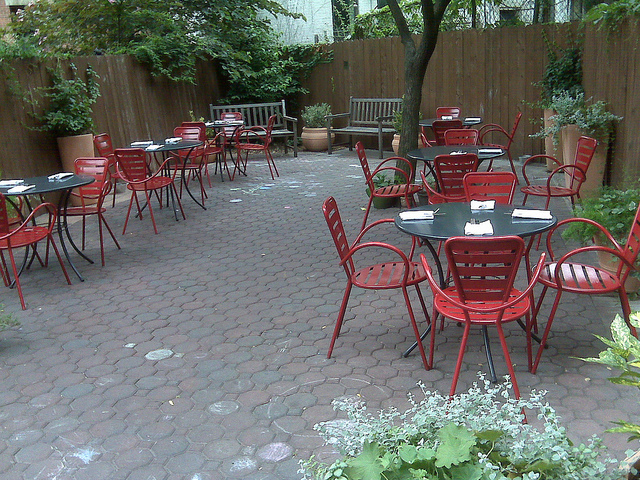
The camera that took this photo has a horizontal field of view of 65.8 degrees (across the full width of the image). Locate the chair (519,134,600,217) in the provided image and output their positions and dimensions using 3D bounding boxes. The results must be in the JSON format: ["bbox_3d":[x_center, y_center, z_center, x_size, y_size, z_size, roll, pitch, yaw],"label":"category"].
[{"bbox_3d":[3.085,-0.727,6.458,1.119,0.951,0.841,-6,20,21],"label":"chair"}]

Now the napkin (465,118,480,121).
[{"bbox_3d":[2.976,-2.356,9.658,0.267,0.035,0.589,1,16,15],"label":"napkin"}]

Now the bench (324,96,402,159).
[{"bbox_3d":[1.134,-2.931,12.689,1.828,1.134,1.081,15,37,40],"label":"bench"}]

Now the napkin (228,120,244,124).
[{"bbox_3d":[-1.819,-2.553,10.751,0.303,0.055,0.512,-5,16,-6],"label":"napkin"}]

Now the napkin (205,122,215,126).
[{"bbox_3d":[-2.334,-2.425,10.346,0.172,0.032,0.149,2,9,3],"label":"napkin"}]

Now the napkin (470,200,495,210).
[{"bbox_3d":[1.428,-0.309,4.325,0.196,0.049,0.168,1,17,13],"label":"napkin"}]

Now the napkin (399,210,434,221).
[{"bbox_3d":[0.821,-0.215,4.188,0.294,0.041,0.242,-2,16,5],"label":"napkin"}]

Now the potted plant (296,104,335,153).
[{"bbox_3d":[0.113,-3.020,13.604,1.116,1.038,1.059,11,16,26],"label":"potted plant"}]

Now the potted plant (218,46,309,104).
[{"bbox_3d":[-1.789,-4.733,14.333,3.054,1.217,2.096,-5,13,-19],"label":"potted plant"}]

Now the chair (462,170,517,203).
[{"bbox_3d":[1.761,-0.552,5.124,0.505,0.318,0.258,1,22,15],"label":"chair"}]

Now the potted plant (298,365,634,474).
[{"bbox_3d":[0.801,0.924,2.571,1.268,0.364,1.082,-4,4,7],"label":"potted plant"}]

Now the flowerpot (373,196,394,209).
[{"bbox_3d":[0.993,-0.584,7.738,0.270,0.128,0.213,-2,14,-6],"label":"flowerpot"}]

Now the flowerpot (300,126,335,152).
[{"bbox_3d":[-0.122,-2.707,13.304,0.974,0.422,0.774,-1,8,-5],"label":"flowerpot"}]

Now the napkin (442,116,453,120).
[{"bbox_3d":[2.494,-2.398,9.673,0.198,0.032,0.153,1,11,5],"label":"napkin"}]

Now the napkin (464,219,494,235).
[{"bbox_3d":[1.200,-0.092,3.724,0.163,0.033,0.137,-8,14,-22],"label":"napkin"}]

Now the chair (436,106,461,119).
[{"bbox_3d":[2.710,-2.696,10.415,0.460,0.408,0.375,1,10,9],"label":"chair"}]

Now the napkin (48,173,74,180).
[{"bbox_3d":[-3.267,-0.804,6.175,0.277,0.044,0.320,-5,16,-7],"label":"napkin"}]
